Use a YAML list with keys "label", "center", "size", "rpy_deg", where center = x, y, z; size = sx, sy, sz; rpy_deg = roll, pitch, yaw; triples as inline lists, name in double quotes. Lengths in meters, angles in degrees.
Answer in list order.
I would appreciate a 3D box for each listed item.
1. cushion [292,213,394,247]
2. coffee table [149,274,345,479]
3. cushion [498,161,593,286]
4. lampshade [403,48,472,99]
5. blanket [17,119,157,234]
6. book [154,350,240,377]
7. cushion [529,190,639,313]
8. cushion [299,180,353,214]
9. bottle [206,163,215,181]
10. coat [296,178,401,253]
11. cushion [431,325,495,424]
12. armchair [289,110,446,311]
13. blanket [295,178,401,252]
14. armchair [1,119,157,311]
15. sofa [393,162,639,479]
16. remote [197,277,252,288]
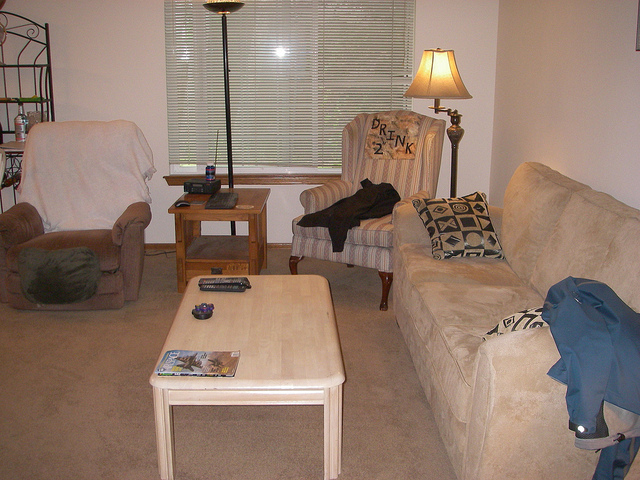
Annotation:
- label: "cushion"
  center: [0.240, -0.042, 4.395]
  size: [0.882, 0.195, 0.957]
  rpy_deg: [5, -2, -4]
- label: "coffee table"
  center: [-0.328, 0.666, 2.794]
  size: [0.854, 0.620, 0.936]
  rpy_deg: [-1, 17, -1]
- label: "cushion"
  center: [1.235, -0.070, 3.022]
  size: [0.223, 0.444, 0.638]
  rpy_deg: [1, 33, -3]
- label: "lampshade"
  center: [0.900, -1.253, 4.039]
  size: [0.395, 0.265, 0.402]
  rpy_deg: [4, 23, 15]
- label: "blanket"
  center: [-1.902, -0.556, 4.426]
  size: [1.019, 0.274, 1.053]
  rpy_deg: [-6, -19, -26]
- label: "book"
  center: [-0.538, 0.546, 2.431]
  size: [0.348, 0.037, 0.170]
  rpy_deg: [0, 17, 0]
- label: "cushion"
  center: [1.241, 0.058, 2.581]
  size: [0.298, 0.396, 0.564]
  rpy_deg: [-1, 7, 3]
- label: "cushion"
  center: [0.011, -0.400, 4.303]
  size: [0.318, 0.142, 0.305]
  rpy_deg: [6, 28, 34]
- label: "bottle"
  center: [-0.896, -0.548, 4.495]
  size: [0.071, 0.112, 0.087]
  rpy_deg: [-4, 18, -11]
- label: "coat"
  center: [0.309, -0.272, 4.181]
  size: [0.717, 0.212, 0.459]
  rpy_deg: [-31, 45, -29]
- label: "cushion"
  center: [0.540, 0.592, 2.485]
  size: [0.192, 0.319, 0.425]
  rpy_deg: [2, 8, 0]
- label: "armchair"
  center: [0.383, -0.300, 4.327]
  size: [0.988, 1.344, 1.179]
  rpy_deg: [7, 16, 21]
- label: "blanket"
  center: [0.288, -0.253, 4.160]
  size: [0.710, 0.212, 0.462]
  rpy_deg: [-30, 44, -28]
- label: "armchair"
  center: [-1.901, -0.264, 4.235]
  size: [1.202, 1.504, 1.381]
  rpy_deg: [-1, 11, -8]
- label: "sofa"
  center: [0.925, 0.389, 2.580]
  size: [0.616, 0.779, 1.362]
  rpy_deg: [-3, 26, 10]
- label: "remote"
  center: [-0.538, 0.237, 3.099]
  size: [0.158, 0.039, 0.120]
  rpy_deg: [1, 6, -4]
